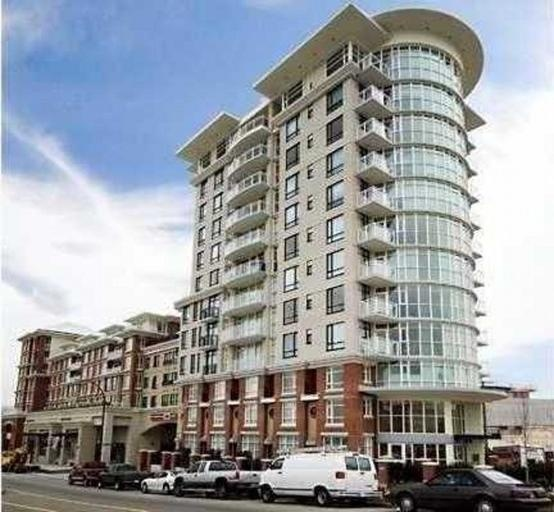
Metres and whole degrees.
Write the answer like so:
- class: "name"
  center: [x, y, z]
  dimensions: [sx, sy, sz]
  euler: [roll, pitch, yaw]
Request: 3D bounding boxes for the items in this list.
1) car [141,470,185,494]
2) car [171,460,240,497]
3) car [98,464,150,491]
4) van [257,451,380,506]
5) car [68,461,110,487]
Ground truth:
- class: "car"
  center: [-6.979, 13.879, 38.236]
  dimensions: [1.572, 1.033, 3.586]
  euler: [24, -32, -39]
- class: "car"
  center: [-3.872, 12.413, 34.699]
  dimensions: [1.446, 1.925, 4.542]
  euler: [16, -26, -32]
- class: "car"
  center: [-10.669, 15.270, 43.128]
  dimensions: [1.705, 1.650, 3.230]
  euler: [20, -29, -40]
- class: "van"
  center: [1.877, 10.243, 28.824]
  dimensions: [5.779, 1.873, 2.719]
  euler: [-15, -31, 36]
- class: "car"
  center: [-14.271, 16.387, 46.860]
  dimensions: [1.994, 1.376, 3.918]
  euler: [16, -23, -39]
